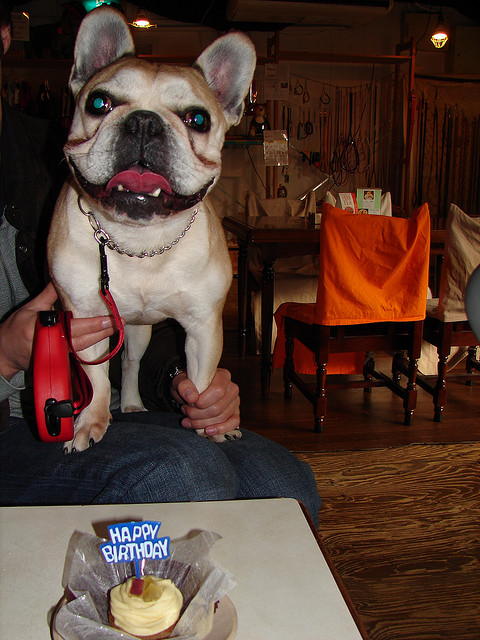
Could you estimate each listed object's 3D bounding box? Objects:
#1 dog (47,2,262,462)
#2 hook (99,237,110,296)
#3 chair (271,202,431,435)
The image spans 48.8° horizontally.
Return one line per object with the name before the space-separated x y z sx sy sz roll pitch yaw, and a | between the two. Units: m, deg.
dog | -0.177 -0.165 1.120 0.438 0.907 0.474 -3 13 -20
hook | -0.257 -0.100 1.004 0.019 0.110 0.046 -2 13 -15
chair | 0.645 -0.035 2.971 0.837 1.032 0.834 -3 8 -29
